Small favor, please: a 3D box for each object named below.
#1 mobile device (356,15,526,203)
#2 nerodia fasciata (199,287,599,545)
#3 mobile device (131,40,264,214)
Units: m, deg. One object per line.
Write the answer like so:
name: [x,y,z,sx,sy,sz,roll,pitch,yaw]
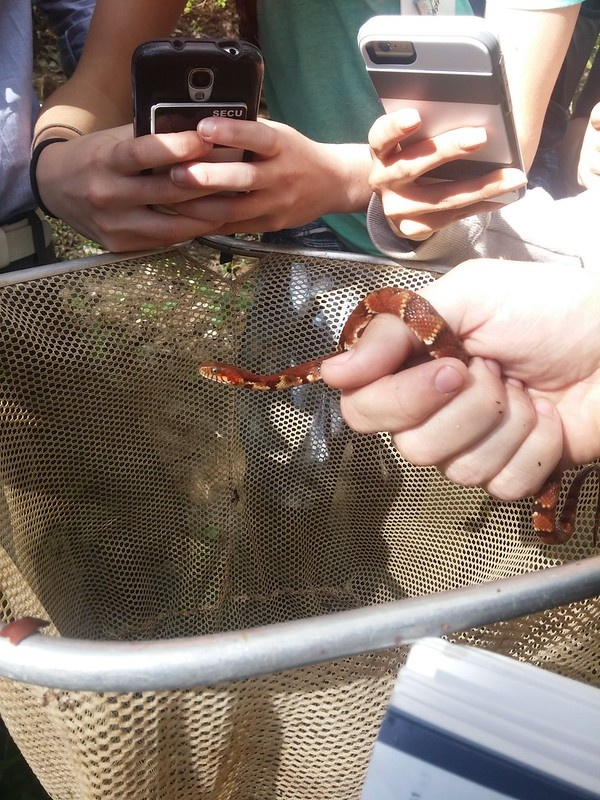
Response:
mobile device: [0.313,-0.686,1.560,0.364,0.341,0.565,1,37,5]
nerodia fasciata: [0.222,-0.002,1.349,0.864,0.454,0.250,31,61,10]
mobile device: [-0.218,-0.647,1.409,0.277,0.214,0.095,-2,61,-9]
